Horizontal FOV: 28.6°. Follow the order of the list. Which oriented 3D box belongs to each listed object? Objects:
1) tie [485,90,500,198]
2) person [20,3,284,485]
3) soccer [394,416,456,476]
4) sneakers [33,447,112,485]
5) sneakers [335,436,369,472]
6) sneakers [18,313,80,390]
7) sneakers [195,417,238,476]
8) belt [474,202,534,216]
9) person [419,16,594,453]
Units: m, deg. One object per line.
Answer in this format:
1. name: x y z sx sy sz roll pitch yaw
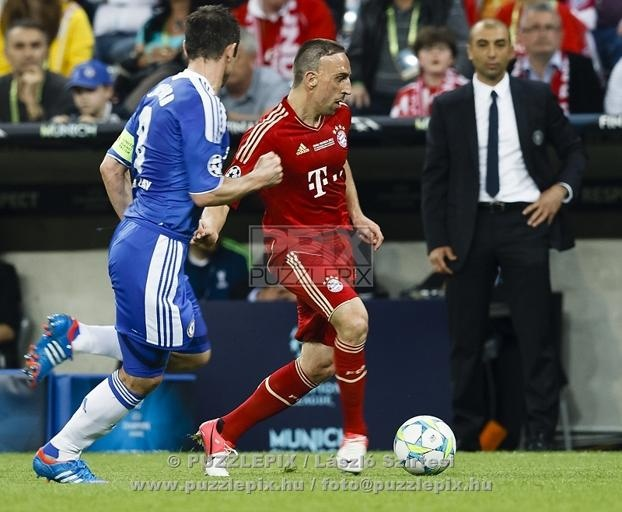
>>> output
1. tie: 1.130 -0.703 7.504 0.089 0.633 0.214 2 13 8
2. person: -0.858 -0.075 6.648 1.303 2.539 0.541 -4 14 -15
3. soccer: 0.621 1.047 6.744 0.310 0.323 0.308 0 -16 -5
4. sneakers: -1.334 1.164 6.678 0.467 0.199 0.168 12 -9 -10
5. sneakers: 0.228 1.127 6.859 0.165 0.188 0.236 1 14 3
6. sneakers: -1.458 0.473 6.735 0.179 0.501 0.215 35 10 16
7. sneakers: -0.551 1.119 6.887 0.165 0.406 0.145 -19 -23 8
8. belt: 1.184 -0.309 7.493 0.306 0.075 0.042 2 14 6
9. person: 1.187 -0.068 7.643 0.987 2.799 0.464 3 14 12
